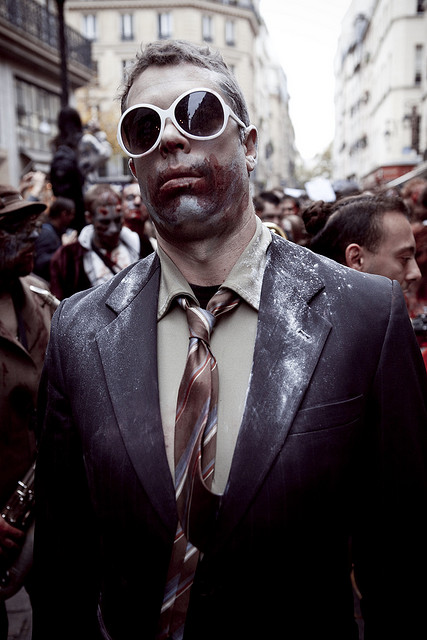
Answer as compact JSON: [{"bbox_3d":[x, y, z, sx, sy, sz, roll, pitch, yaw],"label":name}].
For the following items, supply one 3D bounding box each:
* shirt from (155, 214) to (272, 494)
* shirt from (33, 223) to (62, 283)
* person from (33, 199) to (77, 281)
[{"bbox_3d":[-0.003,0.061,1.460,0.261,0.579,0.603,-1,43,9],"label":"shirt"},{"bbox_3d":[-1.628,-0.681,5.893,0.250,0.498,1.068,0,10,-14],"label":"shirt"},{"bbox_3d":[-1.429,-0.708,5.422,0.316,0.458,1.037,-1,-25,-26],"label":"person"}]
